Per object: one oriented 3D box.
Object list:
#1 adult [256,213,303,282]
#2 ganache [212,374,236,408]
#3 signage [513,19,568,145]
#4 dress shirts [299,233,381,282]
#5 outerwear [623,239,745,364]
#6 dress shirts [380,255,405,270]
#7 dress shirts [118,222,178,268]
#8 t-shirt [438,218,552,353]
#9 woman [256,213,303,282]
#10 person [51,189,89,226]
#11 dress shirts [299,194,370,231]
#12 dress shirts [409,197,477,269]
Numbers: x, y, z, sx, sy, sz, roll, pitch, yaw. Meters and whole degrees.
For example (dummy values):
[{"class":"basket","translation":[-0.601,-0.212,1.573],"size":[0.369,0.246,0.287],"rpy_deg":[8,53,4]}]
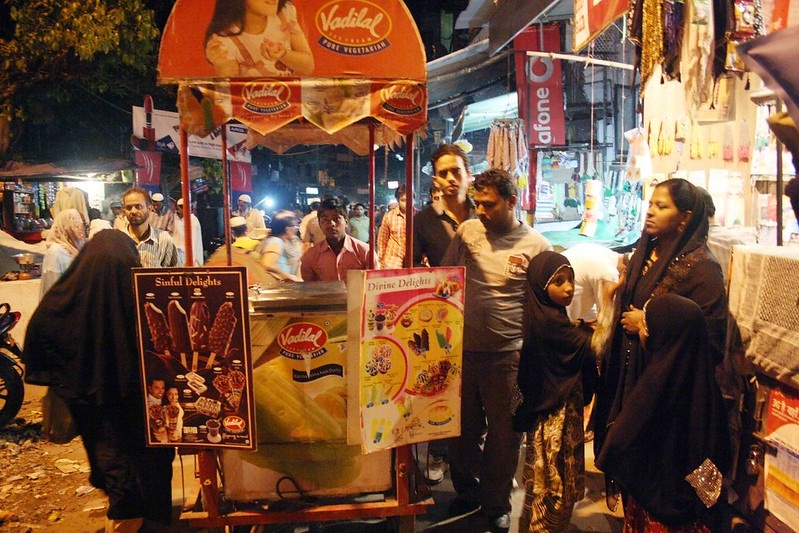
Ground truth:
[{"class":"adult","translation":[-1.449,-0.211,7.428],"size":[0.341,0.527,1.056],"rpy_deg":[-2,-21,-10]},{"class":"ganache","translation":[-1.276,0.877,4.509],"size":[0.237,0.092,0.382],"rpy_deg":[27,-24,-2]},{"class":"signage","translation":[2.319,-3.011,10.446],"size":[0.700,1.830,0.563],"rpy_deg":[-5,14,7]},{"class":"dress shirts","translation":[-0.673,-0.016,6.688],"size":[0.806,0.658,0.406],"rpy_deg":[-5,-2,1]},{"class":"outerwear","translation":[2.117,0.293,4.668],"size":[0.441,0.700,0.744],"rpy_deg":[4,15,-42]},{"class":"dress shirts","translation":[-0.104,-0.045,6.941],"size":[0.190,0.130,0.193],"rpy_deg":[-3,4,2]},{"class":"dress shirts","translation":[-2.999,-0.325,7.446],"size":[0.589,0.392,0.737],"rpy_deg":[-23,-5,16]},{"class":"t-shirt","translation":[0.837,0.177,5.492],"size":[0.978,1.164,0.416],"rpy_deg":[4,30,15]},{"class":"woman","translation":[-1.449,-0.211,7.428],"size":[0.341,0.527,1.056],"rpy_deg":[-2,-21,-10]},{"class":"person","translation":[-4.957,-0.875,9.413],"size":[0.527,0.583,0.341],"rpy_deg":[-4,8,-19]},{"class":"dress shirts","translation":[-1.540,-0.887,11.222],"size":[1.388,0.440,1.150],"rpy_deg":[-3,2,-11]},{"class":"dress shirts","translation":[0.402,-0.298,5.708],"size":[0.638,0.544,0.216],"rpy_deg":[-2,6,-8]}]
